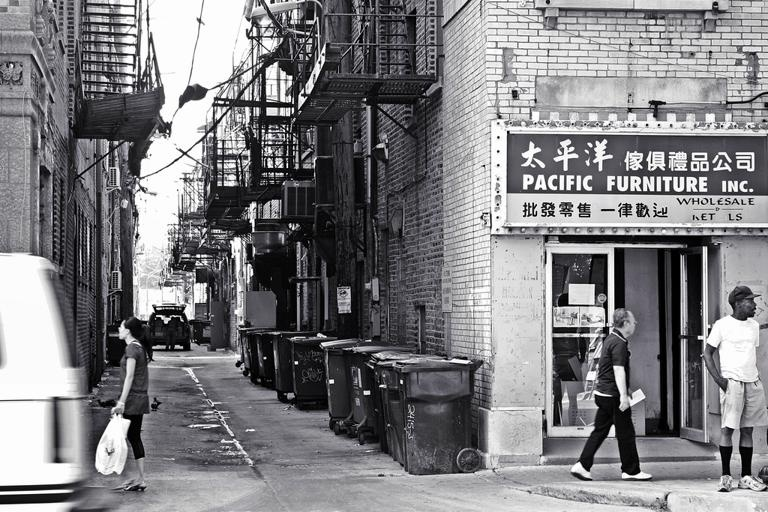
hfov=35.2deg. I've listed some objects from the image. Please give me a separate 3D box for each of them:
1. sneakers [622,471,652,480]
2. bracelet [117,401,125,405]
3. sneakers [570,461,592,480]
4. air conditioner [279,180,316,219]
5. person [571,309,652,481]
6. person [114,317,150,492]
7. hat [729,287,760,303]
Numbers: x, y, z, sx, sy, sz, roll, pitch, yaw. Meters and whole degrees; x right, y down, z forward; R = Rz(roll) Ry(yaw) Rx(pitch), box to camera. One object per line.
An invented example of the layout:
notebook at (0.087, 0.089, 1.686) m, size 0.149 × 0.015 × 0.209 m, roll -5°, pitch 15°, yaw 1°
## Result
sneakers at (3.545, 3.038, 16.835) m, size 0.386 × 0.138 × 0.141 m, roll -1°, pitch -4°, yaw 5°
bracelet at (-3.648, 2.020, 16.748) m, size 0.098 × 0.056 × 0.169 m, roll 1°, pitch -2°, yaw -9°
sneakers at (2.775, 2.996, 16.920) m, size 0.172 × 0.143 × 0.358 m, roll 6°, pitch -4°, yaw 31°
air conditioner at (-2.146, -1.457, 30.146) m, size 0.894 × 1.091 × 1.148 m, roll 1°, pitch -3°, yaw -5°
person at (3.232, 1.922, 16.931) m, size 0.979 × 2.382 × 0.506 m, roll 0°, pitch -2°, yaw 10°
person at (-3.601, 2.050, 17.195) m, size 0.462 × 2.382 × 1.069 m, roll 1°, pitch -2°, yaw -11°
hat at (4.925, 0.525, 16.427) m, size 0.386 × 0.201 × 0.261 m, roll 0°, pitch -4°, yaw 3°
